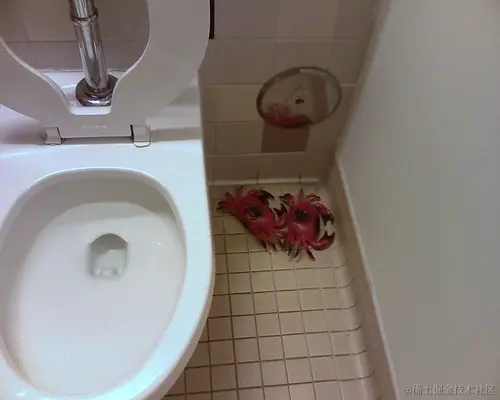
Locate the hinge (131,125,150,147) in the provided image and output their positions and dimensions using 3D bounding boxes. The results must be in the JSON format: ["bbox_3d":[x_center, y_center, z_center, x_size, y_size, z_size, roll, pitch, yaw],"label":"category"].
[{"bbox_3d":[-0.229,-0.136,0.855,0.028,0.048,0.052,-2,70,-7],"label":"hinge"}]

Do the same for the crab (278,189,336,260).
[{"bbox_3d":[0.186,0.074,1.328,0.171,0.079,0.240,-2,60,0],"label":"crab"}]

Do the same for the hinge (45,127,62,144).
[{"bbox_3d":[-0.405,-0.132,0.839,0.023,0.038,0.036,1,84,-16],"label":"hinge"}]

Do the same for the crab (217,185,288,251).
[{"bbox_3d":[0.024,0.069,1.365,0.211,0.052,0.165,34,73,15],"label":"crab"}]
